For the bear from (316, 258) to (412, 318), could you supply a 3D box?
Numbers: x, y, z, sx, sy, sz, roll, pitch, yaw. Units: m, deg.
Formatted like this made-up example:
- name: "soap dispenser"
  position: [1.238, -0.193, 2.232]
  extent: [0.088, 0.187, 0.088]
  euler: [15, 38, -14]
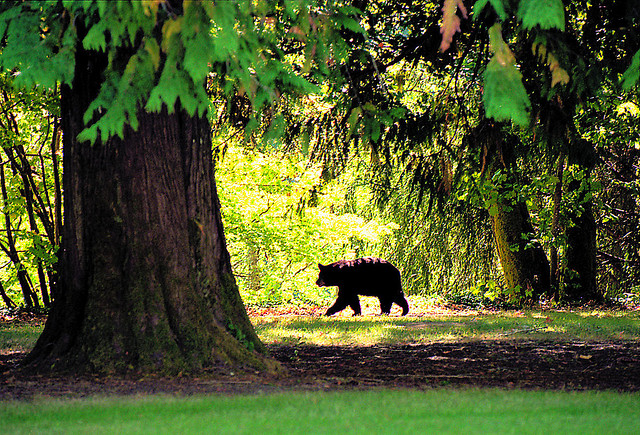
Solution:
- name: "bear"
  position: [0.954, 1.537, 21.707]
  extent: [2.739, 2.122, 0.893]
  euler: [1, -2, 2]
